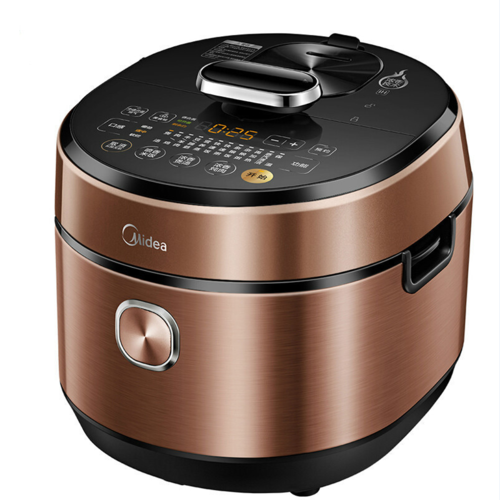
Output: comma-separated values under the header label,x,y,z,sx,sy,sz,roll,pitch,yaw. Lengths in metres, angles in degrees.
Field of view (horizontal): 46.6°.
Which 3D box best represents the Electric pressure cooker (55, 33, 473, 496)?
label,x,y,z,sx,sy,sz,roll,pitch,yaw
Electric pressure cooker,-0.027,-0.070,1.024,0.721,0.560,0.743,17,30,32
